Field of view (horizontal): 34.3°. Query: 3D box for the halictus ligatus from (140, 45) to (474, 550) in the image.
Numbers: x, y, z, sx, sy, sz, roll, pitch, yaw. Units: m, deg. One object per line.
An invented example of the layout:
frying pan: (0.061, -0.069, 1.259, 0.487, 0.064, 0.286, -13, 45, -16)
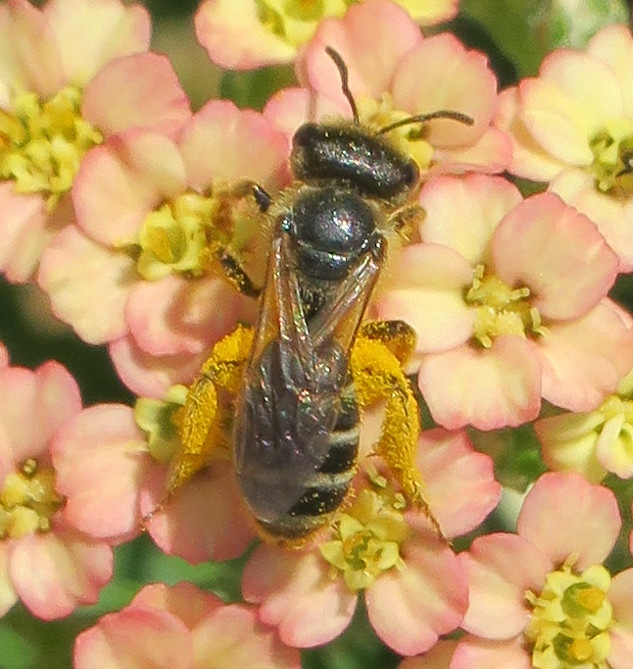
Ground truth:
halictus ligatus: (-0.003, -0.016, 0.839, 0.302, 0.121, 0.364, 9, 84, -1)
